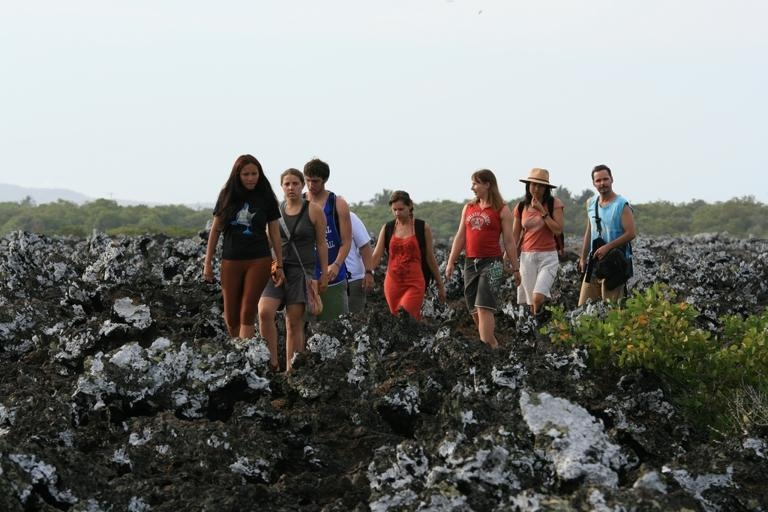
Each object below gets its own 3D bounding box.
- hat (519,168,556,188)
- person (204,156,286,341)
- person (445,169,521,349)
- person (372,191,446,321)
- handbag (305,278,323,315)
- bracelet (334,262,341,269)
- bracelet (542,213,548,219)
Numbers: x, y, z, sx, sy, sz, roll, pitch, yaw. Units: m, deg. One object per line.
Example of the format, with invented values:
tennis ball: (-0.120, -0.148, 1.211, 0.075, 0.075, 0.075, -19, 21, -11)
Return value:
hat: (2.039, -1.038, 9.038, 0.312, 0.270, 0.808, 1, 1, 14)
person: (-1.634, -0.102, 8.151, 0.899, 2.099, 0.393, 1, 0, -8)
person: (1.311, 0.041, 9.049, 0.944, 2.302, 1.387, 1, 0, 6)
person: (0.244, 0.378, 9.103, 1.032, 2.350, 0.922, -2, -10, 6)
handbag: (-0.841, 0.483, 8.228, 0.213, 0.386, 0.371, -16, -17, -14)
bracelet: (-0.563, 0.123, 8.472, 0.075, 0.081, 0.021, 2, -13, -20)
bracelet: (2.183, -0.532, 9.254, 0.069, 0.071, 0.068, 1, 1, 14)
